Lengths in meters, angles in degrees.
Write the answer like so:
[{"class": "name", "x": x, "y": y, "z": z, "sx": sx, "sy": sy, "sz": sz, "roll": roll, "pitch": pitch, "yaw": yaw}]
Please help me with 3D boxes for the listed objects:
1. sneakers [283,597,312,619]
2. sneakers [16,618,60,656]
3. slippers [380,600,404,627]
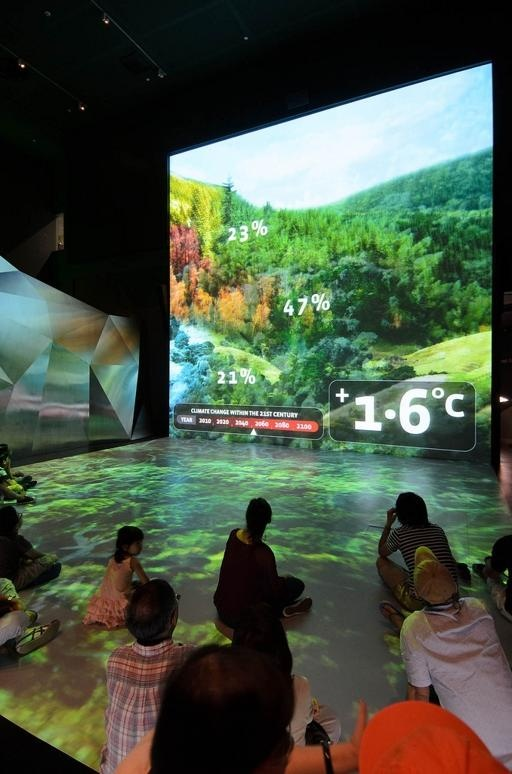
[{"class": "sneakers", "x": 0.189, "y": 0.980, "z": 2.272, "sx": 0.152, "sy": 0.056, "sz": 0.055, "roll": -12, "pitch": -2, "yaw": -37}, {"class": "sneakers", "x": -0.904, "y": 0.997, "z": 1.995, "sx": 0.048, "sy": 0.065, "sz": 0.162, "roll": -2, "pitch": 1, "yaw": 20}, {"class": "slippers", "x": 0.596, "y": 0.950, "z": 2.157, "sx": 0.049, "sy": 0.139, "sz": 0.036, "roll": -46, "pitch": -32, "yaw": 18}]
